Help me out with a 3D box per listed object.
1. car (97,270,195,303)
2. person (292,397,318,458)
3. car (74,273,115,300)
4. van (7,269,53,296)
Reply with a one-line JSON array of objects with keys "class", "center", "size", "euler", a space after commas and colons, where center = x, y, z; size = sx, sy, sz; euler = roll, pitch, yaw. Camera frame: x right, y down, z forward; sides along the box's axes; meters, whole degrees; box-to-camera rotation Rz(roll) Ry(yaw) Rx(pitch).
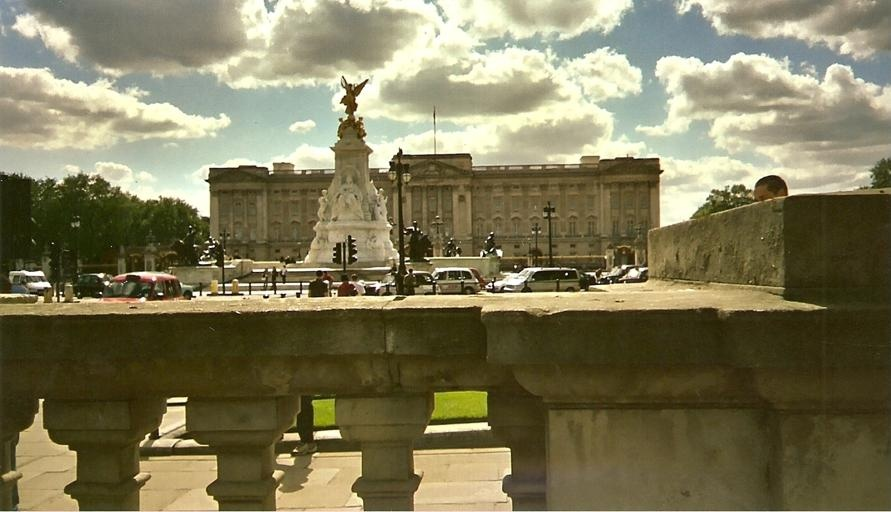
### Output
[{"class": "car", "center": [-6.565, 0.681, 22.907], "size": [2.186, 0.958, 1.322], "euler": [-1, 4, 5]}, {"class": "person", "center": [-2.102, 2.482, 15.443], "size": [0.358, 0.901, 0.876], "euler": [-3, 0, -7]}, {"class": "car", "center": [-11.988, 1.025, 35.457], "size": [1.999, 0.910, 1.068], "euler": [2, 1, 33]}, {"class": "van", "center": [-14.743, 0.917, 36.987], "size": [1.987, 1.000, 1.267], "euler": [-4, -3, 42]}]
